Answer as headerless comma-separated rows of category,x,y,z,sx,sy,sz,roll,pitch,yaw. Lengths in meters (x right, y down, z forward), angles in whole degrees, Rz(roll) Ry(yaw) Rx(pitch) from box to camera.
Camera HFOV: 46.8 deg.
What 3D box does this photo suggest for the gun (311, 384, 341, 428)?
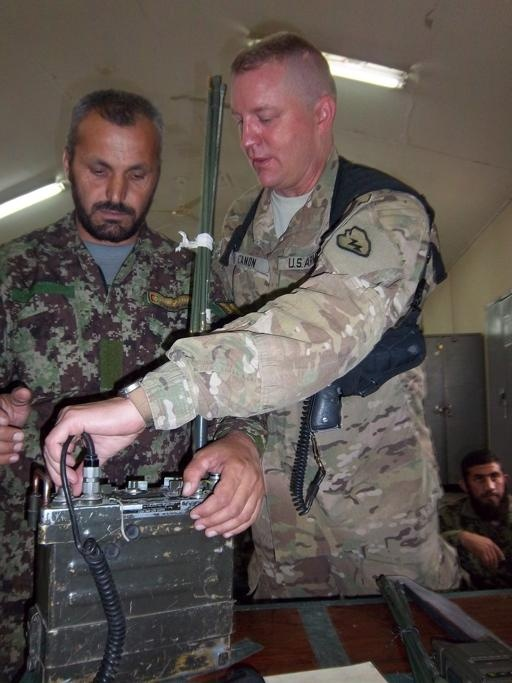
gun,0.139,0.125,1.107,0.078,0.085,0.044,10,-14,-42
